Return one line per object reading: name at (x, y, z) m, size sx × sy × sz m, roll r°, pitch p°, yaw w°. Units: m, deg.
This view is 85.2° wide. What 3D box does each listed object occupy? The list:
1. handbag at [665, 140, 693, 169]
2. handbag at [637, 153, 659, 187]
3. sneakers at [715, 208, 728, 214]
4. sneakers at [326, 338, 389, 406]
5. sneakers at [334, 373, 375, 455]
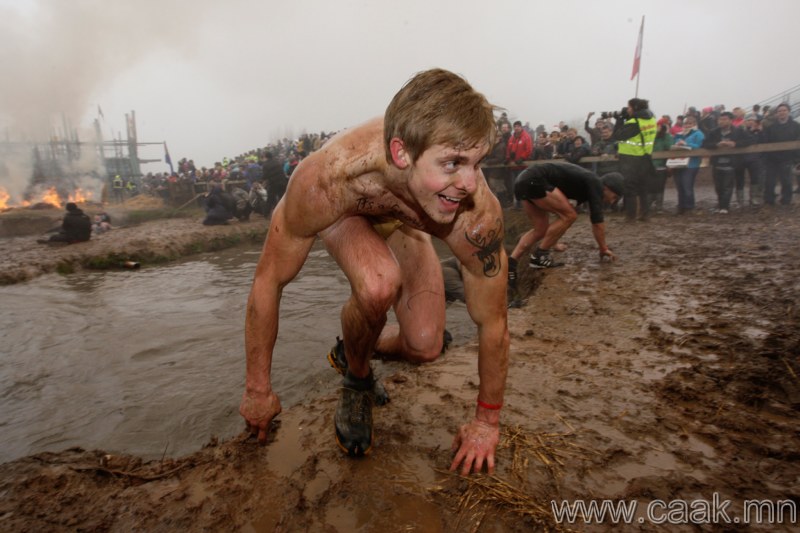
handbag at (6.235, -2.472, 9.690) m, size 0.188 × 0.506 × 0.511 m, roll 6°, pitch 11°, yaw -11°
handbag at (5.350, -1.997, 9.326) m, size 0.460 × 0.753 × 0.221 m, roll -10°, pitch 10°, yaw -32°
sneakers at (6.872, -1.173, 9.246) m, size 0.269 × 0.112 × 0.094 m, roll -14°, pitch 14°, yaw -43°
sneakers at (-0.343, 0.857, 3.450) m, size 0.193 × 0.571 × 0.264 m, roll -36°, pitch -8°, yaw -11°
sneakers at (-0.337, 1.057, 3.092) m, size 0.219 × 0.224 × 0.575 m, roll 4°, pitch 47°, yaw -15°
